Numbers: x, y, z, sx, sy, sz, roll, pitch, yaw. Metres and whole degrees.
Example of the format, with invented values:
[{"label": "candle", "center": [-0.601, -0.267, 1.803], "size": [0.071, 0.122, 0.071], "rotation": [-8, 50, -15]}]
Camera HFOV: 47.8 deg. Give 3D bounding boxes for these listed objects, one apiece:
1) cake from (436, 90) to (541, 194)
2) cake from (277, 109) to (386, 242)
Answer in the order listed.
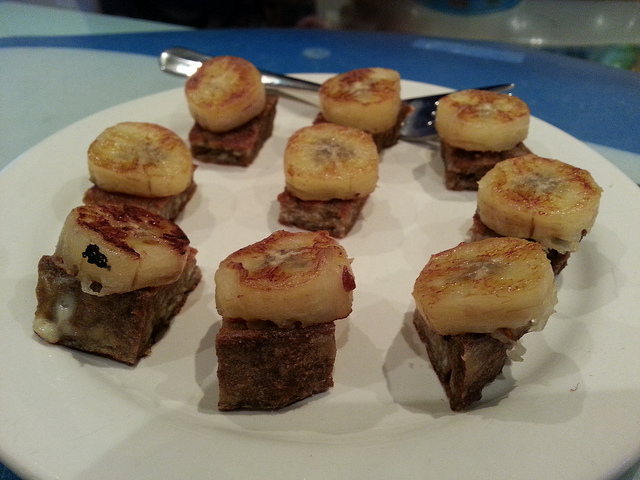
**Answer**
[{"label": "cake", "center": [0.829, -0.565, 3.870], "size": [0.744, 0.444, 0.578], "rotation": [-2, 47, 8]}, {"label": "cake", "center": [0.059, -0.322, 3.837], "size": [0.627, 0.330, 0.645], "rotation": [21, 48, 12]}]
